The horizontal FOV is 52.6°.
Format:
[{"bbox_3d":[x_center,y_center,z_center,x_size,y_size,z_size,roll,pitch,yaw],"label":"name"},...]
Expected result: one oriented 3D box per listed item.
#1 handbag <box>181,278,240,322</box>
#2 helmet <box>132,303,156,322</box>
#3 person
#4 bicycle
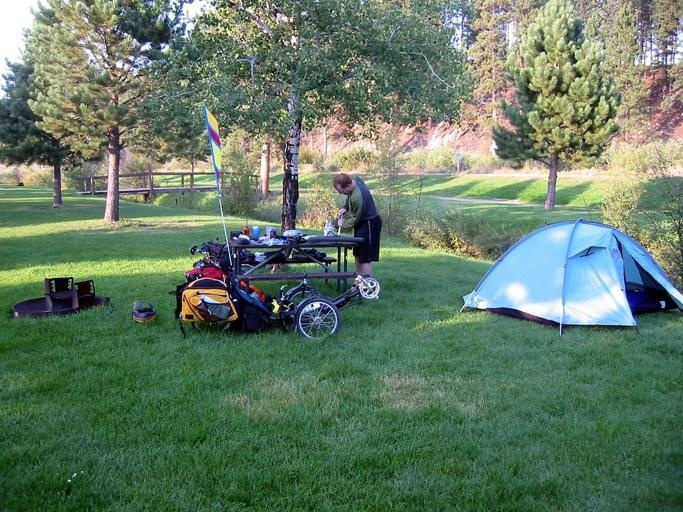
[{"bbox_3d":[-2.212,0.499,11.526,0.949,0.885,0.603,0,-2,-7],"label":"handbag"},{"bbox_3d":[-3.503,0.977,12.254,0.423,0.303,0.349,-3,7,-16],"label":"helmet"},{"bbox_3d":[0.332,-0.426,13.929,0.793,2.588,0.786,-1,17,8],"label":"person"},{"bbox_3d":[-0.179,0.729,11.996,1.468,0.820,0.983,-24,8,-4],"label":"bicycle"}]
